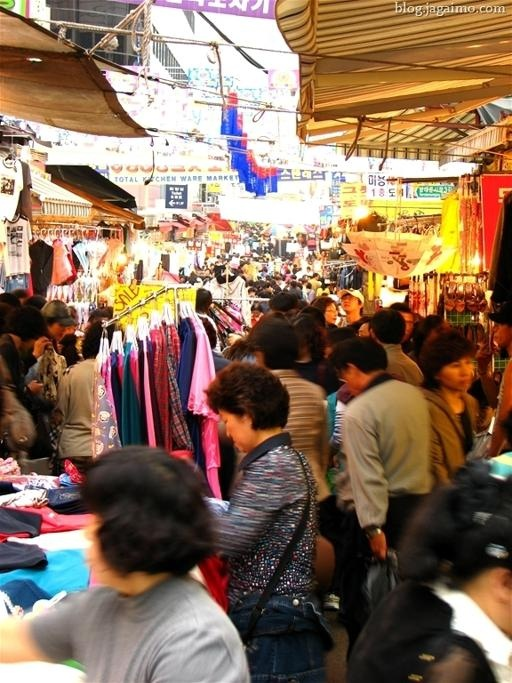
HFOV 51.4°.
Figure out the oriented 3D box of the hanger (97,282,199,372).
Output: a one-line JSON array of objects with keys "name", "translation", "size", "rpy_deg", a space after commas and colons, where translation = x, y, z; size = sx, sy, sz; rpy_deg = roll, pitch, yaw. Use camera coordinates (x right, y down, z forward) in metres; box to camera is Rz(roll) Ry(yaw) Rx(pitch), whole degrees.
[{"name": "hanger", "translation": [-0.844, -0.165, 4.203], "size": [0.515, 0.537, 0.497], "rpy_deg": [1, 13, -1]}]
